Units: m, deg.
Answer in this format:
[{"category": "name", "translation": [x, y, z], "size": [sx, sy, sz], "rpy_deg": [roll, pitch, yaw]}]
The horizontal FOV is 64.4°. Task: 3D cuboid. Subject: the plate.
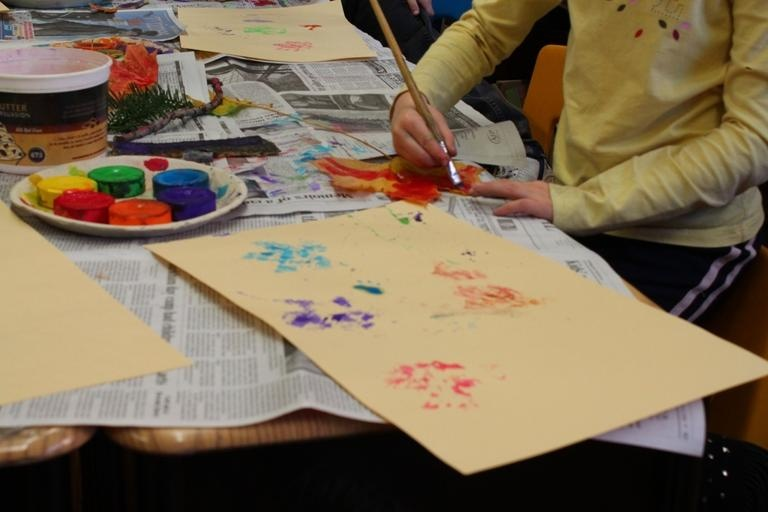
[{"category": "plate", "translation": [-0.338, -0.088, 0.841], "size": [0.210, 0.022, 0.185], "rpy_deg": [14, 25, 21]}]
